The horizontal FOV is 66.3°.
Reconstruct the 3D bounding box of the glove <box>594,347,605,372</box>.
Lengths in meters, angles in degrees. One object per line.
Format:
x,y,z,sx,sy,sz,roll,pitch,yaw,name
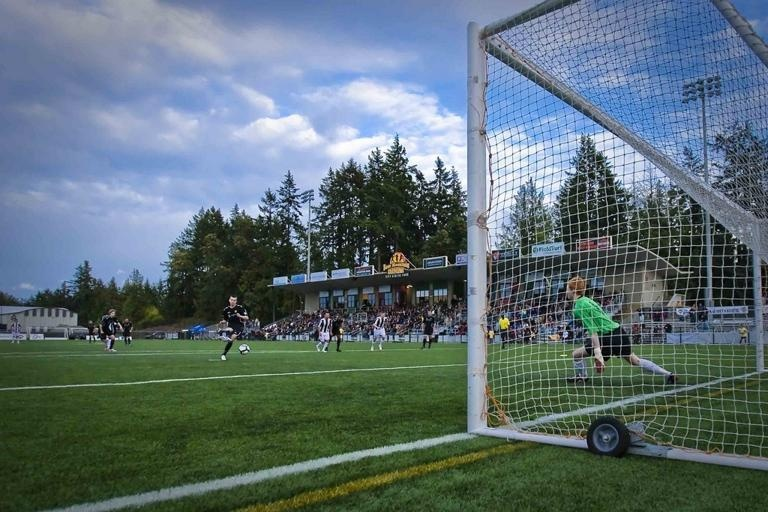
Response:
3.485,1.693,9.530,0.111,0.378,0.274,-4,-7,21,glove

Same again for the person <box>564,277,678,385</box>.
3.731,1.322,10.208,1.443,1.901,1.144,0,-1,-24,person
